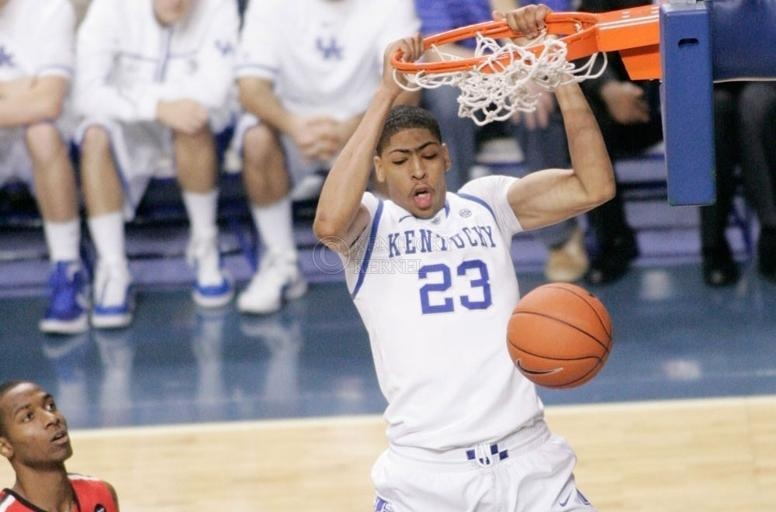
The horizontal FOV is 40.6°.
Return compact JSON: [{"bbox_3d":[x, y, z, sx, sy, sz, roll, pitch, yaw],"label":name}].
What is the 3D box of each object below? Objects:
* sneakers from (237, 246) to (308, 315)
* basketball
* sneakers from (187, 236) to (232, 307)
[{"bbox_3d":[-0.535,0.119,5.149,0.387,0.267,0.206,-14,15,-36],"label":"sneakers"},{"bbox_3d":[0.582,0.246,3.548,0.330,0.336,0.323,-3,-1,35],"label":"basketball"},{"bbox_3d":[-0.854,0.055,5.105,0.156,0.217,0.368,-7,45,-3],"label":"sneakers"}]
